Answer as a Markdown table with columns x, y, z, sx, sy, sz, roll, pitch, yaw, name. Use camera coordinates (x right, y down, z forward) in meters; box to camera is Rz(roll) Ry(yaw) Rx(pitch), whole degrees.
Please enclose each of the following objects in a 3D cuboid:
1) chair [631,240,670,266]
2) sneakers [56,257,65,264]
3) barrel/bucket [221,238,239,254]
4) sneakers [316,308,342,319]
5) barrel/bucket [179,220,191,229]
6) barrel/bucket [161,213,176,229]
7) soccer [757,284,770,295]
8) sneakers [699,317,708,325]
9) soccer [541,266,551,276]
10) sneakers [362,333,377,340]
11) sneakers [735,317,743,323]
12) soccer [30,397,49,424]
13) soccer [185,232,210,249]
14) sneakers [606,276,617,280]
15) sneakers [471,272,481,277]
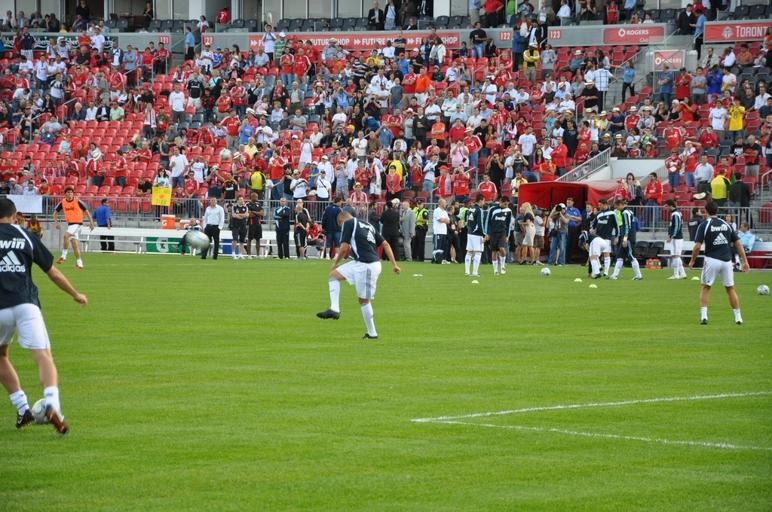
| x | y | z | sx | sy | sz | roll | pitch | yaw | name |
| --- | --- | --- | --- | --- | --- | --- | --- | --- | --- |
| 9.120 | -0.097 | 52.400 | 1.010 | 0.587 | 0.343 | 0 | 1 | 19 | chair |
| -10.889 | 0.160 | 51.149 | 0.228 | 0.141 | 0.387 | 2 | -1 | -6 | sneakers |
| -5.974 | -0.392 | 58.424 | 0.636 | 0.750 | 0.589 | -1 | 7 | 0 | barrel/bucket |
| -1.370 | 1.438 | 37.454 | 0.626 | 0.250 | 0.216 | 1 | 6 | 6 | sneakers |
| -7.758 | -1.220 | 59.020 | 0.366 | 0.388 | 0.885 | -2 | 4 | -12 | barrel/bucket |
| -8.416 | -1.353 | 59.134 | 0.590 | 0.487 | 0.557 | 0 | 1 | 0 | barrel/bucket |
| 10.585 | 0.930 | 42.725 | 0.296 | 0.278 | 0.348 | -1 | -5 | 1 | soccer |
| 7.833 | 1.594 | 37.554 | 0.191 | 0.166 | 0.370 | 0 | 4 | 9 | sneakers |
| 5.061 | 0.495 | 48.578 | 0.270 | 0.235 | 0.325 | 0 | -2 | 20 | soccer |
| -0.360 | 1.863 | 35.667 | 0.376 | 0.130 | 0.275 | 0 | 4 | 15 | sneakers |
| 8.688 | 1.579 | 37.603 | 0.168 | 0.102 | 0.269 | 1 | 2 | 5 | sneakers |
| -6.835 | 3.063 | 30.120 | 0.358 | 0.275 | 0.545 | 7 | 13 | -27 | soccer |
| -6.727 | -0.569 | 54.835 | 0.884 | 0.678 | 0.548 | 3 | 6 | 38 | soccer |
| 7.133 | 0.681 | 48.192 | 0.413 | 0.151 | 0.130 | 0 | -1 | -25 | sneakers |
| 2.872 | 0.586 | 48.323 | 0.108 | 0.170 | 0.280 | 0 | -1 | 40 | sneakers |
